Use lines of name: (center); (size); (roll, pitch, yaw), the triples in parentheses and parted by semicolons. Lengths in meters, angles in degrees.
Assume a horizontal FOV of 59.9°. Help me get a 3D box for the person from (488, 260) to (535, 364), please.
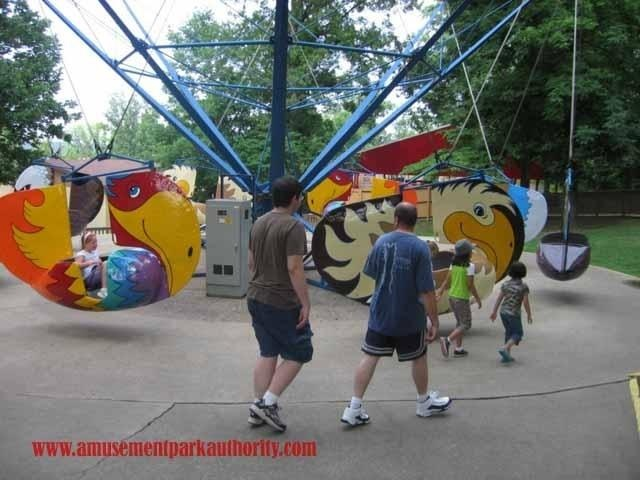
person: (3.056, 0.945, 8.834); (0.587, 1.451, 2.094); (4, 9, 21)

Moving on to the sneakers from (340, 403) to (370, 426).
sneakers: (0.398, 1.972, 6.238); (0.147, 0.189, 0.390); (-1, -4, 35)

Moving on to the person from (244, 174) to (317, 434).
person: (-0.444, 0.703, 6.076); (0.697, 2.739, 0.523); (-1, 8, -8)

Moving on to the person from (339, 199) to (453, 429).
person: (0.877, 0.995, 6.241); (1.113, 2.148, 0.514); (1, 8, 3)

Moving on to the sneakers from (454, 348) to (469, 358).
sneakers: (2.098, 1.691, 8.302); (0.238, 0.121, 0.090); (-2, 1, -12)

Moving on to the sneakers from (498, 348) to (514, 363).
sneakers: (2.703, 1.715, 8.065); (0.118, 0.345, 0.147); (-10, 41, 32)
